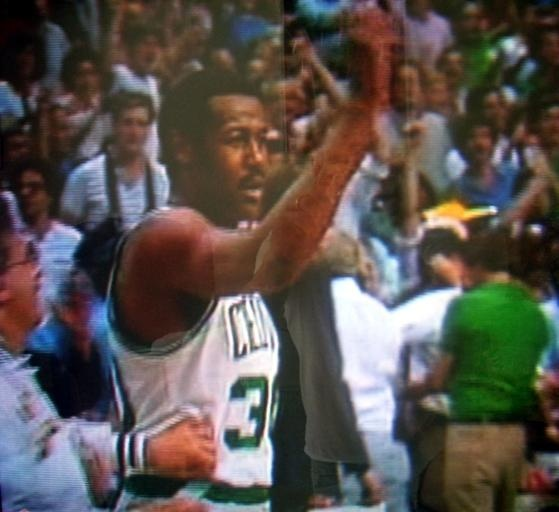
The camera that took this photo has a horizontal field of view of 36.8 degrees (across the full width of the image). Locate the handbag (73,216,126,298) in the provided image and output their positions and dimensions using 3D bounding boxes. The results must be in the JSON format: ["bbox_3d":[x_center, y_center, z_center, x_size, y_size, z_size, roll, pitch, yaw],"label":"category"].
[{"bbox_3d":[-1.110,-0.008,5.248,0.404,0.434,0.169,10,-3,31],"label":"handbag"}]

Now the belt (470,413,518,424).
[{"bbox_3d":[1.317,0.996,5.133,0.317,0.057,0.009,0,9,0],"label":"belt"}]
